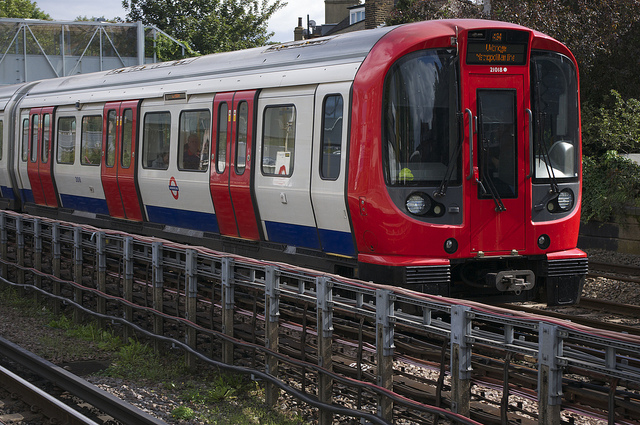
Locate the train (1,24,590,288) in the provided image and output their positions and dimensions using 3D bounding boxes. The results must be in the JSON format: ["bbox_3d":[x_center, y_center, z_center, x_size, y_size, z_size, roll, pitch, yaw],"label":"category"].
[{"bbox_3d":[-3.916,-0.906,17.370,4.486,5.216,20.027,-3,6,-35],"label":"train"}]
